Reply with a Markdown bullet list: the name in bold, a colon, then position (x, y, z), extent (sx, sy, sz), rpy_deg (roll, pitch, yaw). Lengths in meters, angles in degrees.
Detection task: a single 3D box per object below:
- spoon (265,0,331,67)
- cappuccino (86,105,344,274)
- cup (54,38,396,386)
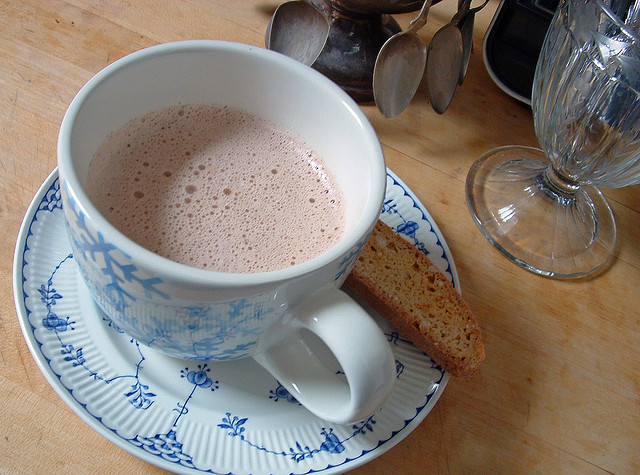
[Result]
- **spoon**: position (-0.034, -0.311, 0.958), extent (0.075, 0.049, 0.128), rpy_deg (17, 75, -20)
- **cappuccino**: position (-0.120, -0.045, 0.724), extent (0.190, 0.106, 0.253), rpy_deg (29, 41, -4)
- **cup**: position (-0.083, -0.033, 0.713), extent (0.377, 0.160, 0.331), rpy_deg (14, 66, -4)
